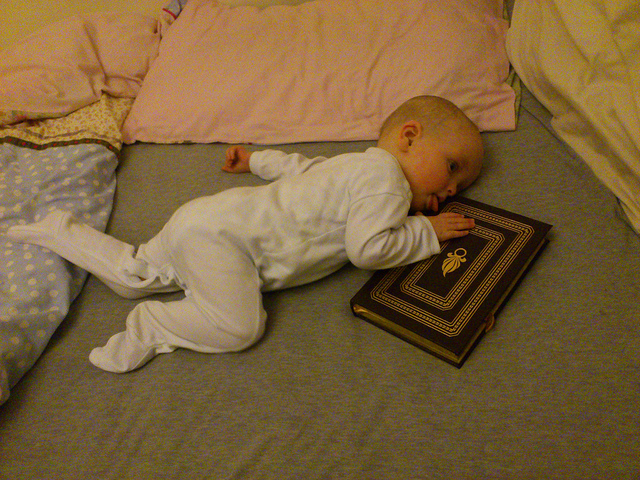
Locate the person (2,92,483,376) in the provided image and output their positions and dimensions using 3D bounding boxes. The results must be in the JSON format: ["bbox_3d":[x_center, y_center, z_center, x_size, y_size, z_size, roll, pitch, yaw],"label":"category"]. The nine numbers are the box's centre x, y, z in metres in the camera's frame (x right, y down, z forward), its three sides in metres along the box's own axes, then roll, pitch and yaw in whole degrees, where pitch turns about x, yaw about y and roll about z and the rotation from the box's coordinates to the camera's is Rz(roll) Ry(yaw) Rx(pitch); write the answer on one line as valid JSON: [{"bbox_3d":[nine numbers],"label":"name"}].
[{"bbox_3d":[-0.023,0.077,1.436,1.243,0.405,0.595,-13,41,-5],"label":"person"}]

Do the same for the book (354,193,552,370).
[{"bbox_3d":[0.322,0.069,1.258,0.291,0.094,0.434,32,60,23],"label":"book"}]
